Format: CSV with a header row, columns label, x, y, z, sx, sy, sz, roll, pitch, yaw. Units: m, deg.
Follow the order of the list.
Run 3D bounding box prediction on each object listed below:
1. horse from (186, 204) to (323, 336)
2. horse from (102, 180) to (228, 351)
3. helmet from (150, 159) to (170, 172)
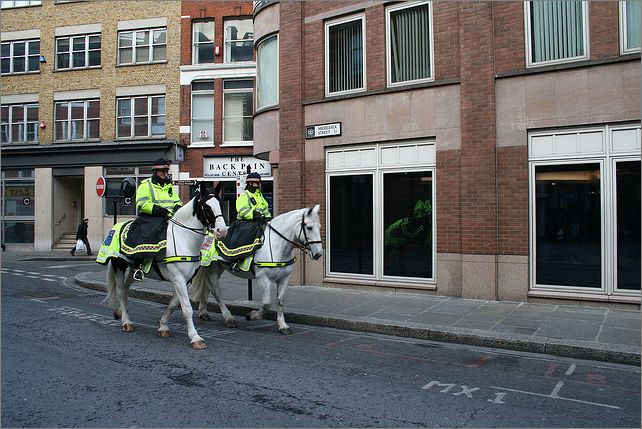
label,x,y,z,sx,sy,sz,roll,pitch,yaw
horse,-1.855,1.507,15.995,4.656,3.080,1.380,-4,-8,38
horse,-3.786,1.066,14.707,3.367,3.705,1.027,6,15,22
helmet,-3.901,-1.201,14.948,0.414,0.268,0.292,-1,2,5
